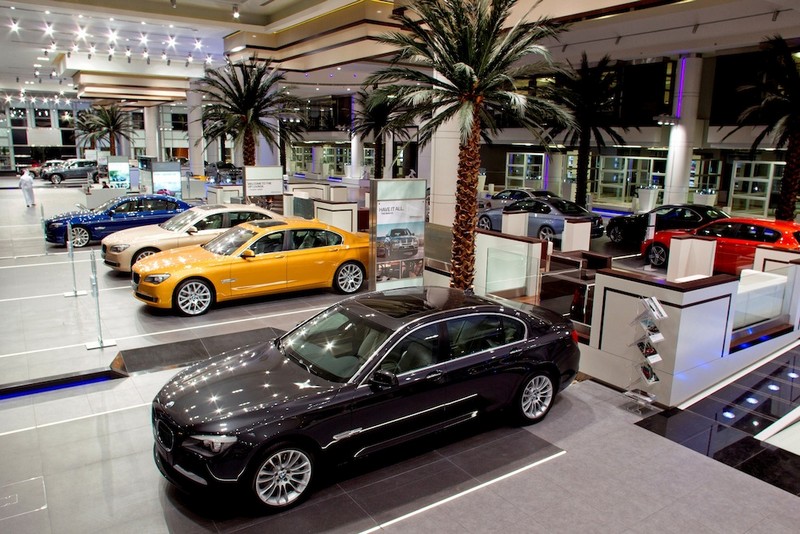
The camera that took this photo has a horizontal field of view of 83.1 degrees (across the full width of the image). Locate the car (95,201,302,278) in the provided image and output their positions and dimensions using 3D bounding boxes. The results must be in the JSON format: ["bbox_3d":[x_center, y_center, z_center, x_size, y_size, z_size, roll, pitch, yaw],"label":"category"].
[{"bbox_3d":[-6.929,-0.945,14.195,6.319,1.309,2.321,-3,10,-22],"label":"car"}]

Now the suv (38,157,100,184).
[{"bbox_3d":[-30.872,-8.997,42.468,3.945,2.240,2.485,-13,19,-43],"label":"suv"}]

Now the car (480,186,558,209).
[{"bbox_3d":[6.053,-3.693,23.697,3.744,0.921,1.644,7,13,34],"label":"car"}]

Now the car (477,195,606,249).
[{"bbox_3d":[6.271,-2.186,20.550,3.047,1.604,6.155,-6,14,-41],"label":"car"}]

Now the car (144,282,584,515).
[{"bbox_3d":[0.021,1.598,6.784,6.393,1.432,2.528,-4,14,-26],"label":"car"}]
